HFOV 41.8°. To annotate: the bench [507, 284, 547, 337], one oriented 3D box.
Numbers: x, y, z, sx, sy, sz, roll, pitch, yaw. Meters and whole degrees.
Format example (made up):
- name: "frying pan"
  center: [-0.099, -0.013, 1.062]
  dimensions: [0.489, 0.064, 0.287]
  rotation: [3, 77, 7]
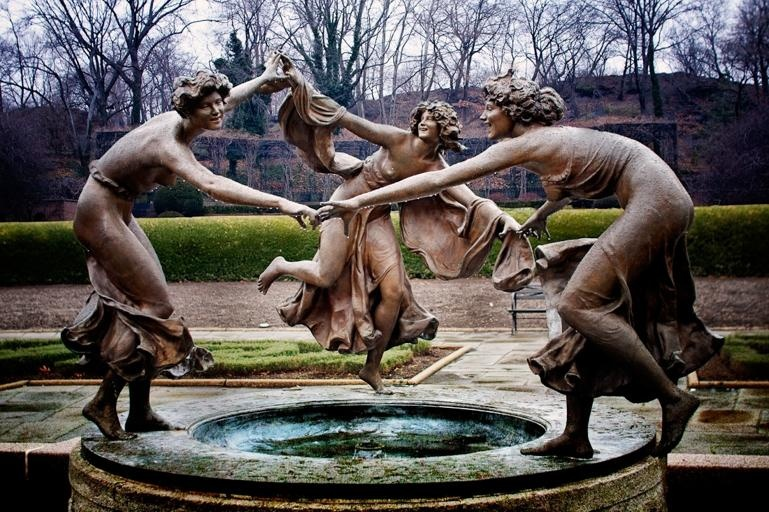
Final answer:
- name: "bench"
  center: [2.989, 1.160, 20.902]
  dimensions: [1.430, 0.898, 0.568]
  rotation: [0, -4, -2]
